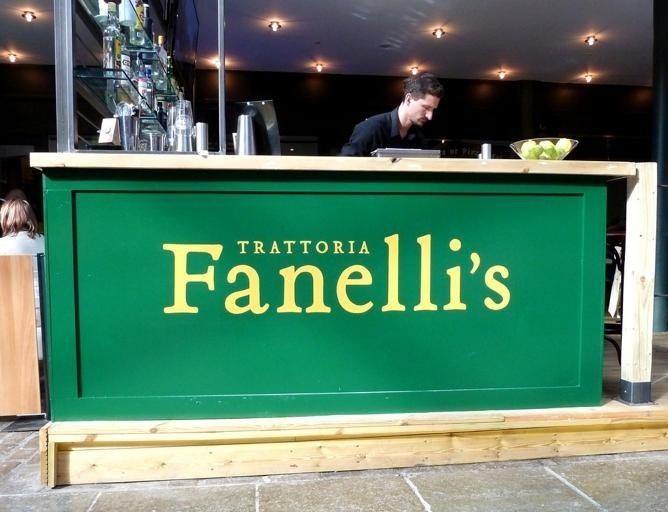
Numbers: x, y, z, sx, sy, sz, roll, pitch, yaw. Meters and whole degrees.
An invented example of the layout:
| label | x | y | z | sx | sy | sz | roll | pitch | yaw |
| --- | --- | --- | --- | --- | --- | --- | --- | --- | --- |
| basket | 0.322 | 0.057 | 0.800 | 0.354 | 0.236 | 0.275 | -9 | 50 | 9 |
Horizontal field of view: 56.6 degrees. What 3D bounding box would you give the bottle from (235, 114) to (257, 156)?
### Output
| label | x | y | z | sx | sy | sz | roll | pitch | yaw |
| --- | --- | --- | --- | --- | --- | --- | --- | --- | --- |
| bottle | -0.420 | -0.579 | 2.945 | 0.097 | 0.201 | 0.259 | -3 | 7 | -8 |
